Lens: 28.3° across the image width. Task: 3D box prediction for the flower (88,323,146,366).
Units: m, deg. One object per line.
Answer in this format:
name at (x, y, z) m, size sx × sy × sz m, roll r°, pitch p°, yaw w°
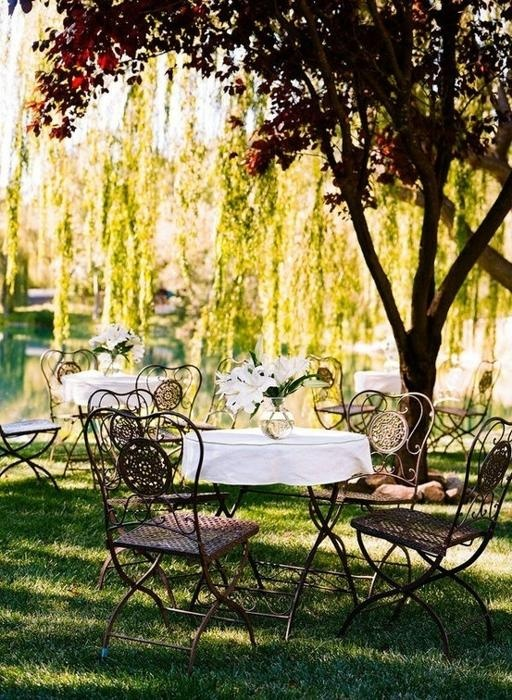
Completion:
flower at (-1.098, -0.054, 8.039) m, size 0.340 × 0.289 × 0.344 m, roll 12°, pitch 6°, yaw -2°
